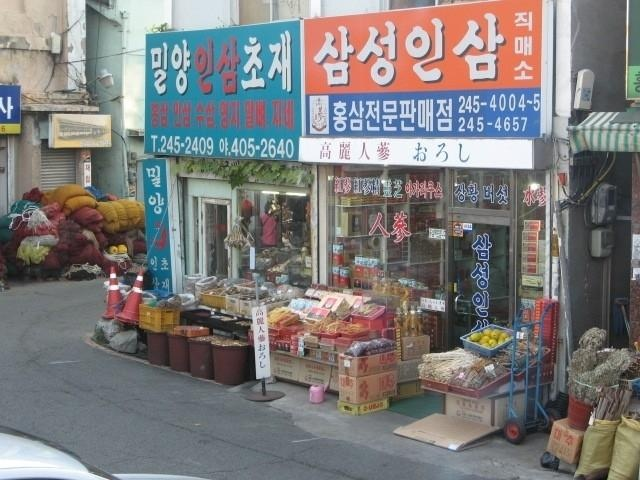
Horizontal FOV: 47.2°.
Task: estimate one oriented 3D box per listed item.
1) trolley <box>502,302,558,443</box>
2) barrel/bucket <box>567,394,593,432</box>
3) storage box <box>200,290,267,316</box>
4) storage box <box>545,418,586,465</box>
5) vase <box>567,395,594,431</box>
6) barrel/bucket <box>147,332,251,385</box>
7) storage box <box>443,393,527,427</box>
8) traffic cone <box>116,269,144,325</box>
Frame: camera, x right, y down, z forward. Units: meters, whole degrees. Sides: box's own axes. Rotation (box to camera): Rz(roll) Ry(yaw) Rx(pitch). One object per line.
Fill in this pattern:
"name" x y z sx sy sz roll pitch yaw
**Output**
"trolley" 2.982 1.835 10.267 0.797 1.943 0.531 -1 -1 -39
"barrel/bucket" 3.244 2.192 9.302 0.310 0.357 0.337 16 -2 1
"storage box" -1.574 1.190 14.415 1.258 0.394 0.969 0 8 40
"storage box" 3.126 2.553 9.228 0.279 0.435 0.463 -6 9 -33
"vase" 3.232 2.179 9.282 0.305 0.351 0.331 17 -1 5
"barrel/bucket" -2.216 2.096 13.290 2.157 0.726 0.447 5 10 34
"storage box" 2.214 2.361 10.446 0.929 0.492 0.266 6 10 39
"traffic cone" -4.045 1.228 15.585 0.626 1.014 0.652 18 -7 14
